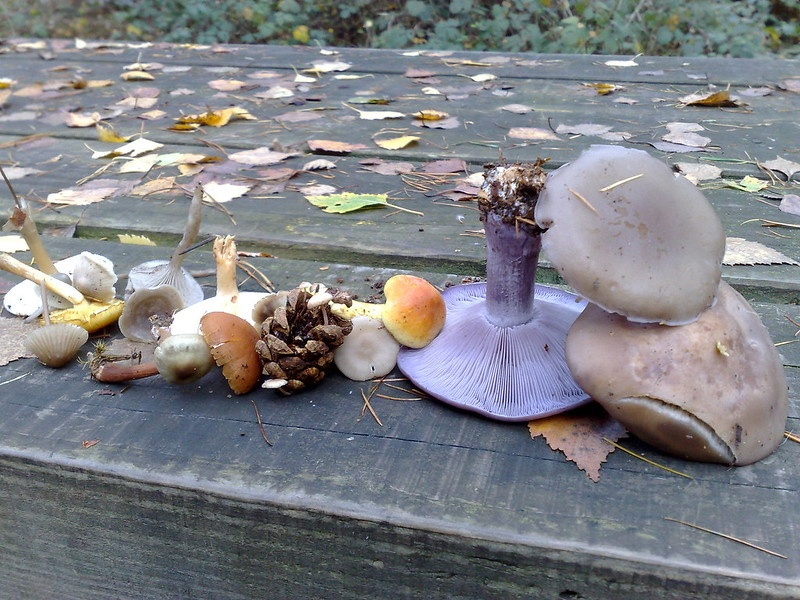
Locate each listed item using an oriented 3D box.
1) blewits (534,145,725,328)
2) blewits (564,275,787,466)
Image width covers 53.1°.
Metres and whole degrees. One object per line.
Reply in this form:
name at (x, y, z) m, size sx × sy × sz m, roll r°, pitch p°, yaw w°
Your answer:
blewits at (0.505, -0.176, 1.968) m, size 0.743 × 0.359 × 0.440 m, roll -6°, pitch 26°, yaw -16°
blewits at (0.678, 0.190, 1.875) m, size 0.696 × 0.147 × 0.444 m, roll 20°, pitch 51°, yaw 8°
